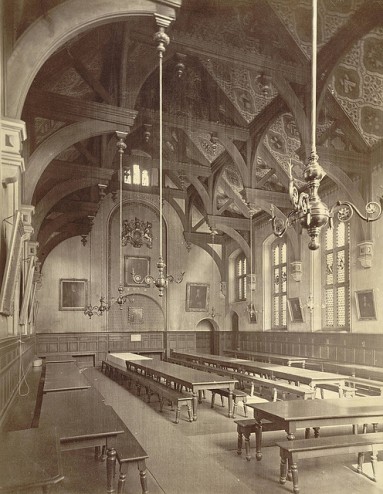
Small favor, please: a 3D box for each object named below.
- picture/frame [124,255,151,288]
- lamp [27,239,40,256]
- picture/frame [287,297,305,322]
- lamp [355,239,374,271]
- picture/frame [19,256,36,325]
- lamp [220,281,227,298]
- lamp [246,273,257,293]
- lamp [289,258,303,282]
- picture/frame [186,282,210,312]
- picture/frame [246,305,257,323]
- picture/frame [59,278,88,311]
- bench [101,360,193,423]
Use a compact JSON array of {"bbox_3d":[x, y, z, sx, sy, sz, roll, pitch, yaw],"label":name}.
[{"bbox_3d":[-2.053,0.912,20.754,1.022,0.153,1.559,0,-55,-8],"label":"picture/frame"},{"bbox_3d":[-3.407,0.020,11.713,0.276,0.420,0.323,0,-4,-11],"label":"lamp"},{"bbox_3d":[3.244,1.930,16.779,0.034,0.706,0.576,-3,-15,-13],"label":"picture/frame"},{"bbox_3d":[3.934,0.169,12.325,0.236,0.743,0.479,7,-8,-16],"label":"lamp"},{"bbox_3d":[-2.397,0.592,7.930,0.058,0.888,0.502,3,16,-26],"label":"picture/frame"},{"bbox_3d":[1.354,1.801,22.674,0.325,0.697,0.184,0,-2,-20],"label":"lamp"},{"bbox_3d":[2.204,1.308,20.042,0.381,0.905,0.479,0,-3,0],"label":"lamp"},{"bbox_3d":[3.222,0.722,16.706,0.188,0.837,0.506,4,-9,-24],"label":"lamp"},{"bbox_3d":[0.208,2.054,21.978,0.088,1.204,0.861,-5,-7,42],"label":"picture/frame"},{"bbox_3d":[2.224,2.541,20.326,0.219,0.731,0.861,-1,-3,-11],"label":"picture/frame"},{"bbox_3d":[-4.148,1.704,19.222,0.986,1.444,0.130,5,-43,-20],"label":"picture/frame"},{"bbox_3d":[-0.720,2.805,10.777,0.261,0.391,2.668,-1,3,-27],"label":"bench"}]
